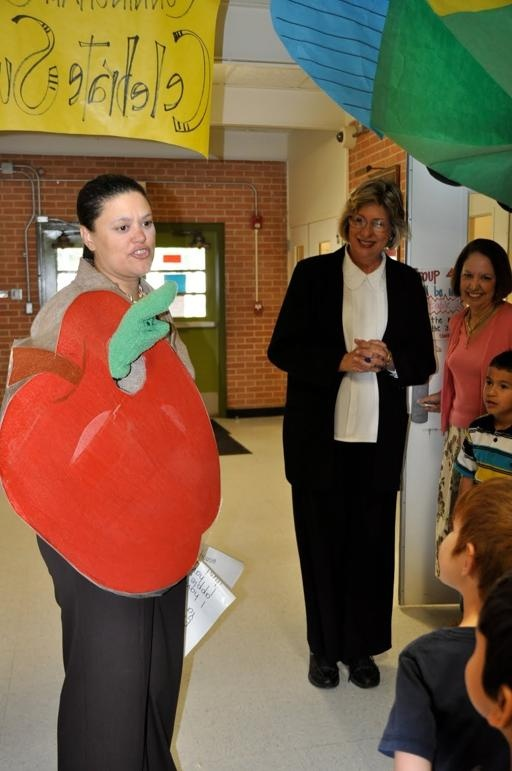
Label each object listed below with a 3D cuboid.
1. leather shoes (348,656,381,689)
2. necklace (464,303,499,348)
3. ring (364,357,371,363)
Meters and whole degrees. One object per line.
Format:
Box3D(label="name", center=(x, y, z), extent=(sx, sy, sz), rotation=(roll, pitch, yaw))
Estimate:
Box3D(label="leather shoes", center=(0.377, 0.975, 2.145), extent=(0.058, 0.051, 0.111), rotation=(0, -8, -5))
Box3D(label="necklace", center=(0.861, -0.243, 2.450), extent=(0.049, 0.121, 0.091), rotation=(25, 8, -14))
Box3D(label="ring", center=(0.330, -0.075, 1.871), extent=(0.015, 0.016, 0.007), rotation=(0, 5, 9))
